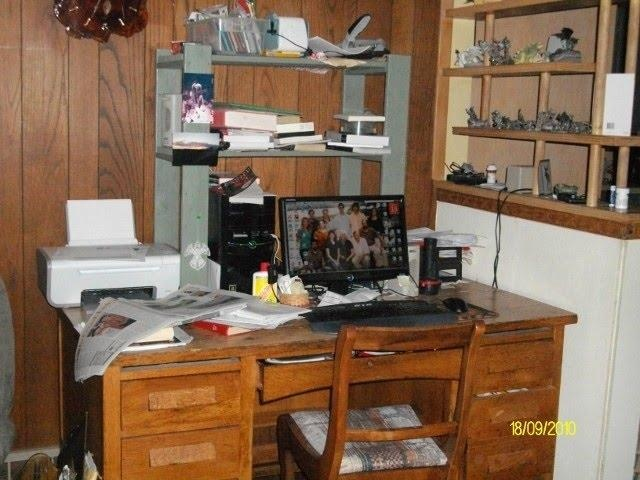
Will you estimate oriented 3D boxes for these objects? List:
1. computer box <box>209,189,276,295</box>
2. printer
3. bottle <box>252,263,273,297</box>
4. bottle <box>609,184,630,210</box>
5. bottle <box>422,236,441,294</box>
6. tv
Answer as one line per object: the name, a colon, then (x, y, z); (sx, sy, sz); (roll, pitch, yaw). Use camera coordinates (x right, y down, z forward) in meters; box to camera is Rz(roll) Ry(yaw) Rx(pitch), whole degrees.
computer box: (-0.319, 0.023, 2.564); (0.279, 0.465, 0.262); (-4, 23, -22)
printer: (-0.857, 0.058, 2.340); (0.520, 0.389, 0.324); (-3, 13, -40)
bottle: (-0.241, 0.167, 2.348); (0.096, 0.133, 0.098); (4, 4, 0)
bottle: (1.159, -0.163, 2.216); (0.083, 0.096, 0.088); (1, -1, 40)
bottle: (0.481, 0.117, 2.529); (0.106, 0.247, 0.104); (1, 3, 0)
tv: (0.095, 0.026, 2.437); (0.418, 0.308, 0.122); (-2, -1, -17)
